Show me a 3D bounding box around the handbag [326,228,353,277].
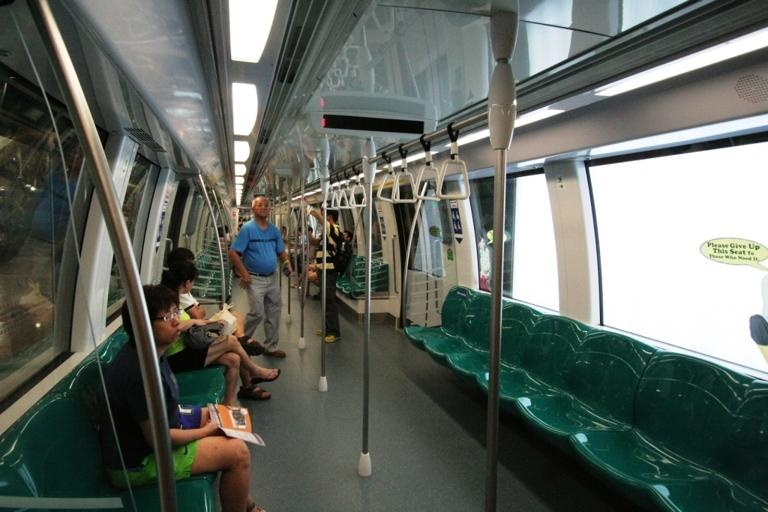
[{"bbox_3d":[-0.728,-0.037,6.818,0.220,0.628,0.448,9,1,27],"label":"handbag"}]

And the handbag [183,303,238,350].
[{"bbox_3d":[-1.449,0.589,3.917,0.331,0.142,0.255,-32,-5,30],"label":"handbag"}]

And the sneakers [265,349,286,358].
[{"bbox_3d":[-1.314,1.191,5.767,0.282,0.113,0.095,0,2,-5],"label":"sneakers"}]

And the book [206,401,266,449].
[{"bbox_3d":[-0.943,1.046,2.976,0.262,0.130,0.423,25,4,-35],"label":"book"}]

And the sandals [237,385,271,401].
[{"bbox_3d":[-1.276,1.349,4.657,0.279,0.102,0.152,0,9,-2],"label":"sandals"}]
